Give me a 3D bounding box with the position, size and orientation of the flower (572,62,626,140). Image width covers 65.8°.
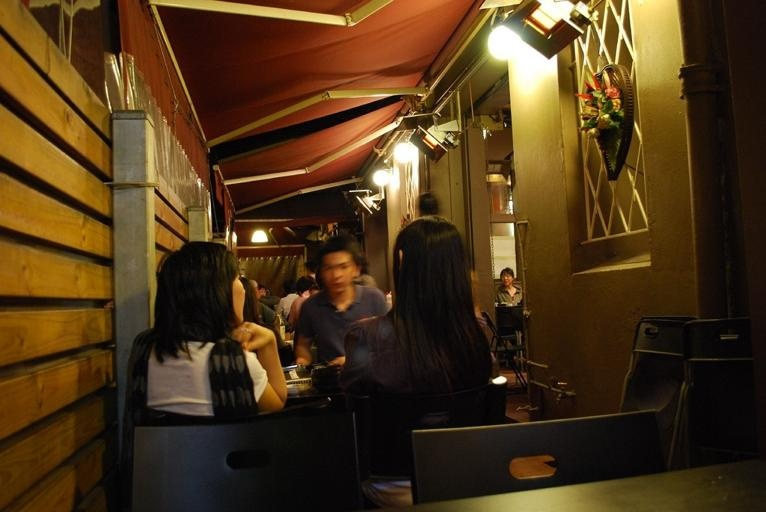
[{"bbox_3d":[1.394,-0.996,3.809,0.134,0.460,0.441,-2,-8,-10],"label":"flower"}]

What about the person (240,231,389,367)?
[{"bbox_3d":[-0.339,0.280,4.395,0.921,1.428,0.786,-1,5,-4],"label":"person"}]
